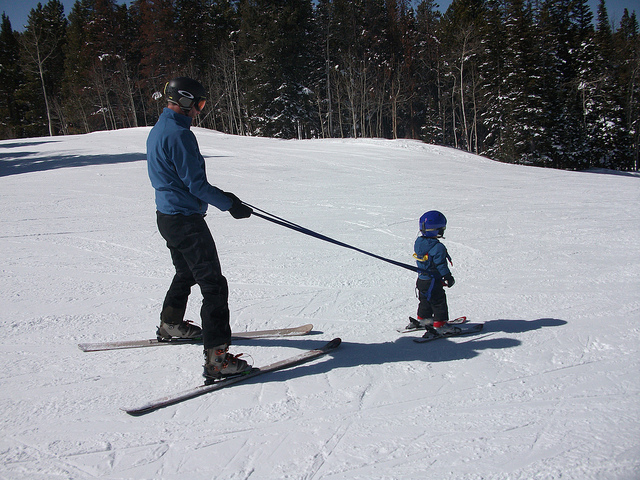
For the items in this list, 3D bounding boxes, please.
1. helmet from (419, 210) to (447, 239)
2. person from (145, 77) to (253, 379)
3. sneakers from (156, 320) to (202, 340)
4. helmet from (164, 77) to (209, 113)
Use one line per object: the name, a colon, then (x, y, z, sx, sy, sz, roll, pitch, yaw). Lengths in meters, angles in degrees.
helmet: (1.191, -0.173, 5.726, 0.342, 0.249, 0.271, -19, 22, -40)
person: (-1.144, -0.132, 5.088, 0.629, 2.734, 0.932, -8, 10, -34)
sneakers: (-1.375, 0.900, 5.624, 0.533, 0.167, 0.180, -2, 6, -18)
helmet: (-1.247, -1.350, 5.074, 0.440, 0.254, 0.290, -14, 35, -15)
